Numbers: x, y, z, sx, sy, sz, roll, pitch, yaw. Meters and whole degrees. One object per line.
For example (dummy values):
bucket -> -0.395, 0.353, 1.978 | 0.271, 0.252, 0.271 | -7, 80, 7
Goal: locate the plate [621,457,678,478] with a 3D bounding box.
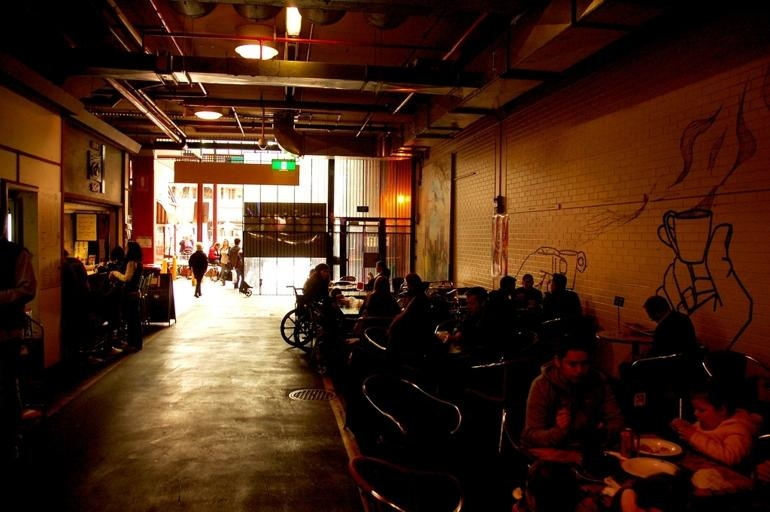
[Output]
plate -> 2.375, 1.909, 4.915 | 0.237, 0.055, 0.235 | -4, 5, 8

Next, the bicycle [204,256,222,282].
bicycle -> -7.644, 0.600, 24.581 | 0.992, 1.305, 0.483 | 2, -3, 22

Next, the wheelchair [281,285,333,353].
wheelchair -> -1.634, 1.326, 11.339 | 1.279, 1.108, 0.893 | 5, -9, -34

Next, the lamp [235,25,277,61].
lamp -> -2.343, -3.883, 9.972 | 0.688, 0.813, 1.162 | -2, 9, -13

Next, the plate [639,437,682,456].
plate -> 2.618, 1.829, 5.196 | 0.219, 0.050, 0.215 | -10, 11, -44

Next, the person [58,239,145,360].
person -> -5.553, 0.813, 10.651 | 1.050, 2.103, 1.566 | 9, 12, 41
